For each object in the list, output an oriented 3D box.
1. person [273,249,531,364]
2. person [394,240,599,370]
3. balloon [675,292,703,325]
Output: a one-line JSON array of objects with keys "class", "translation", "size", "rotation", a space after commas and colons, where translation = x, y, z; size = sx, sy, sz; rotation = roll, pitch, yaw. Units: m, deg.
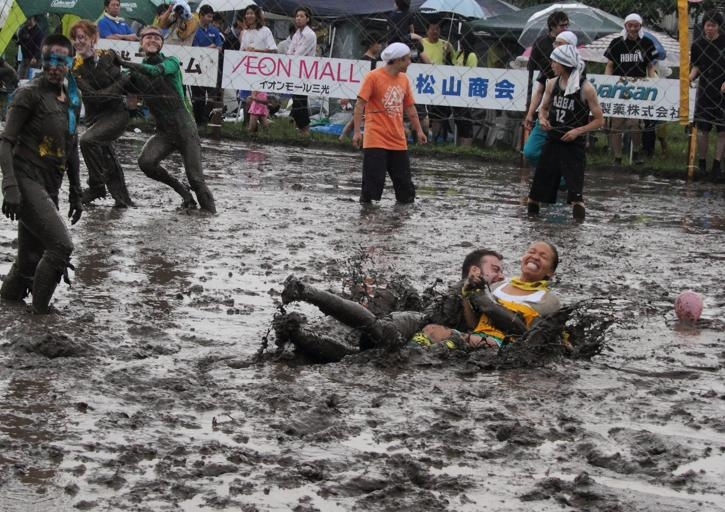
[{"class": "person", "translation": [0.184, 0.340, 6.764], "size": [1.592, 0.545, 0.874], "rotation": [0, -1, -17]}, {"class": "person", "translation": [1.012, 0.348, 6.848], "size": [1.820, 0.912, 1.164], "rotation": [3, 7, -35]}, {"class": "balloon", "translation": [2.673, 0.409, 7.474], "size": [0.222, 0.221, 0.224], "rotation": [3, 10, 13]}]
